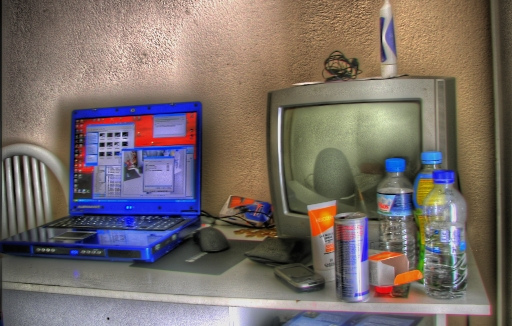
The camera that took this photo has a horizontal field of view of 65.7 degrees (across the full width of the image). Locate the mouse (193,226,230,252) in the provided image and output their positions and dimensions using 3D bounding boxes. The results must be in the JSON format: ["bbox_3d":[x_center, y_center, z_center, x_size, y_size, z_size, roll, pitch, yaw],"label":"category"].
[{"bbox_3d":[-0.161,0.251,1.385,0.114,0.051,0.158,-2,20,-29],"label":"mouse"}]

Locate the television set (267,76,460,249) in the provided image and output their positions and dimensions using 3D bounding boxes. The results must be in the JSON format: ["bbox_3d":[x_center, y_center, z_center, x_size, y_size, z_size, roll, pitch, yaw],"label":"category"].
[{"bbox_3d":[0.267,0.026,1.464,0.702,0.473,0.363,0,-8,-23],"label":"television set"}]

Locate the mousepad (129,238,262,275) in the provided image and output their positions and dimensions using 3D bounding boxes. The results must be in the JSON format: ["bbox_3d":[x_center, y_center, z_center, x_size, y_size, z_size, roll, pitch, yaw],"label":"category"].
[{"bbox_3d":[-0.202,0.309,1.314,0.331,0.071,0.245,-2,2,20],"label":"mousepad"}]

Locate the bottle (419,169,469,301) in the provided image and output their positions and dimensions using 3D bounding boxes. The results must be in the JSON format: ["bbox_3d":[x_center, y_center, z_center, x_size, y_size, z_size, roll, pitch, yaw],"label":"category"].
[{"bbox_3d":[0.515,0.185,1.097,0.123,0.330,0.191,-4,2,26],"label":"bottle"}]

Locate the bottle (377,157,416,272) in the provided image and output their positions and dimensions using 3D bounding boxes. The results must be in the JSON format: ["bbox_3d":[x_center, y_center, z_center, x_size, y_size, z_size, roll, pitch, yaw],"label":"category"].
[{"bbox_3d":[0.408,0.145,1.152,0.110,0.324,0.185,-4,2,17],"label":"bottle"}]

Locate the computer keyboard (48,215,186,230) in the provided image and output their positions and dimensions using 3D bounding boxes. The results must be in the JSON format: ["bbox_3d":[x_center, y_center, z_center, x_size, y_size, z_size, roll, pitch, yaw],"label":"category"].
[{"bbox_3d":[-0.525,0.219,1.496,0.496,0.042,0.165,-3,2,12],"label":"computer keyboard"}]

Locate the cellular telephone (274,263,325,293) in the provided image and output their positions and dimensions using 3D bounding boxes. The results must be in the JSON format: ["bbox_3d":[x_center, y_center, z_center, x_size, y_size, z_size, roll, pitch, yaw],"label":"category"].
[{"bbox_3d":[0.120,0.323,1.118,0.087,0.046,0.119,-4,2,-32],"label":"cellular telephone"}]

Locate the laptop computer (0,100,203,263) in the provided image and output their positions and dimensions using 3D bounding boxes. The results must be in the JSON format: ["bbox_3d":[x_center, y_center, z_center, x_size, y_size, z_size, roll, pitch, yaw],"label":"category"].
[{"bbox_3d":[-0.519,0.030,1.513,0.598,0.531,0.548,-4,2,11],"label":"laptop computer"}]
